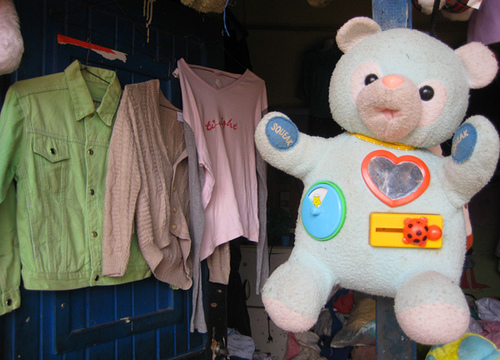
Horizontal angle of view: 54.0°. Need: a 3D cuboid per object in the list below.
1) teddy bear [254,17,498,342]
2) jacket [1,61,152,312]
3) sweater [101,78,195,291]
[{"bbox_3d":[0.440,0.017,1.730,0.803,0.960,0.561,0,24,1],"label":"teddy bear"},{"bbox_3d":[-0.899,0.044,2.379,0.496,1.081,0.863,20,32,38],"label":"jacket"},{"bbox_3d":[-0.520,0.018,2.555,0.262,1.020,0.666,2,17,7],"label":"sweater"}]
